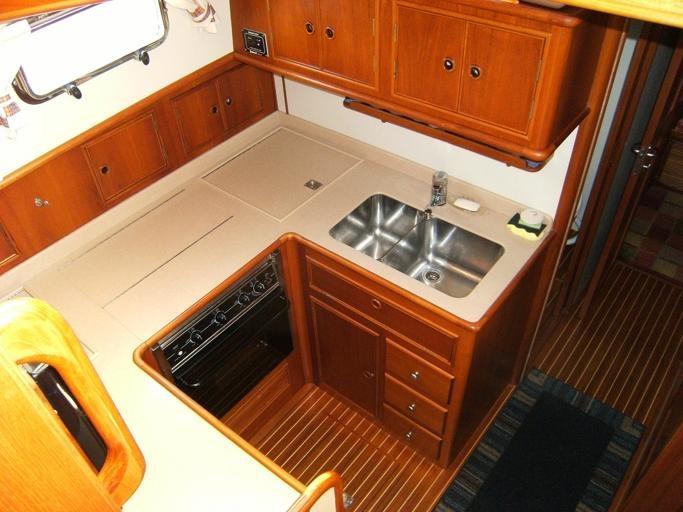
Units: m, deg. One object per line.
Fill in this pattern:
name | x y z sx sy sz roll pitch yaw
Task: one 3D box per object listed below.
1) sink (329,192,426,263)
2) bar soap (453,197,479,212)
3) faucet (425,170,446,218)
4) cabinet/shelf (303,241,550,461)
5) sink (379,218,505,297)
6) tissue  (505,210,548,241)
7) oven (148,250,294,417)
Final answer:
sink | 0.225 -0.153 2.676 0.399 0.265 0.404 32 63 22
bar soap | 0.664 -0.276 2.511 0.095 0.024 0.077 25 61 20
faucet | 0.521 -0.296 2.587 0.105 0.211 0.215 8 48 3
cabinet/shelf | 0.296 0.488 2.589 1.156 1.210 0.568 16 32 16
sink | 0.562 -0.001 2.613 0.469 0.327 0.469 29 65 22
tissue  | 0.947 -0.169 2.405 0.198 0.102 0.182 15 33 13
oven | -0.617 0.341 2.325 0.352 0.712 0.494 37 64 22
